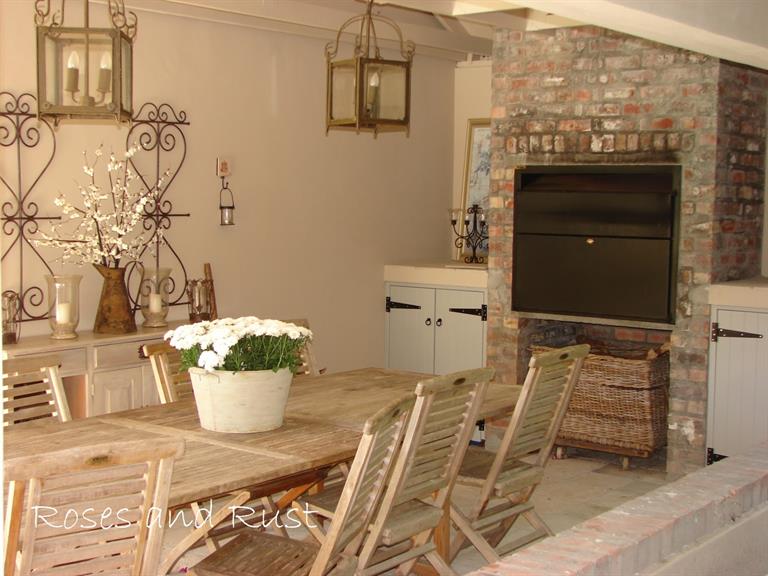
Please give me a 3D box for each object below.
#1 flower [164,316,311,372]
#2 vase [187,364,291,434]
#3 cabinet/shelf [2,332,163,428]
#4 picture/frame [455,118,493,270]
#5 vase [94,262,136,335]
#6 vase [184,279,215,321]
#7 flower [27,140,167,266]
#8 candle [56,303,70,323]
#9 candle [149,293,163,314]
[{"bbox_3d":[-0.632,0.239,2.549,0.562,0.209,0.272,2,9,15],"label":"flower"},{"bbox_3d":[-0.587,0.458,2.642,0.445,0.251,0.482,-4,-4,24],"label":"vase"},{"bbox_3d":[-1.685,0.506,3.469,0.673,0.352,0.228,-6,9,-44],"label":"cabinet/shelf"},{"bbox_3d":[0.919,-1.032,6.548,0.364,1.506,0.704,1,9,6],"label":"picture/frame"},{"bbox_3d":[-1.889,0.075,4.362,0.257,0.474,0.252,-6,11,-35],"label":"vase"},{"bbox_3d":[-1.413,0.094,4.832,0.197,0.330,0.267,-3,9,-18],"label":"vase"},{"bbox_3d":[-2.192,-0.632,4.737,0.922,0.974,0.835,4,8,31],"label":"flower"},{"bbox_3d":[-2.113,0.166,4.110,0.094,0.137,0.040,-3,10,-22],"label":"candle"},{"bbox_3d":[-1.665,0.108,4.553,0.101,0.147,0.056,-3,9,-18],"label":"candle"}]
